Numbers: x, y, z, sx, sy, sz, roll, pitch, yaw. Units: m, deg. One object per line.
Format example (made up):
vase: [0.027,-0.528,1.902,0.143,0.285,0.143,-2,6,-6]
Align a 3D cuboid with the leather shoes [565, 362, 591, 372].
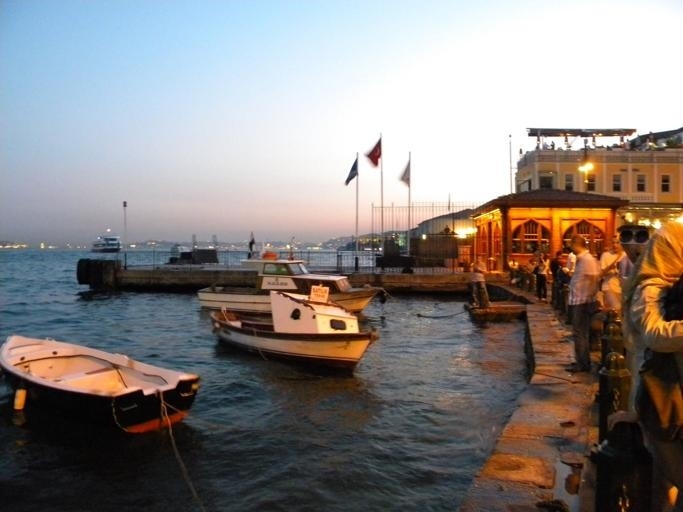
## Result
leather shoes: [4.525,2.098,11.095,0.236,0.099,0.277,-3,-6,-2]

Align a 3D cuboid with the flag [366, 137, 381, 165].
flag: [2.024,-6.337,35.683,0.880,1.698,2.033,-3,5,1]

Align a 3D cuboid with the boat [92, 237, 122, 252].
boat: [-50.391,-2.432,125.107,3.965,3.507,16.212,-1,0,-36]

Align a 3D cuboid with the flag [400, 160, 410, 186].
flag: [4.244,-5.419,38.234,0.542,1.561,1.475,-4,6,-5]

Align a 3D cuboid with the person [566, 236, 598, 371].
person: [4.517,0.882,10.819,0.465,2.533,0.506,-1,6,23]
